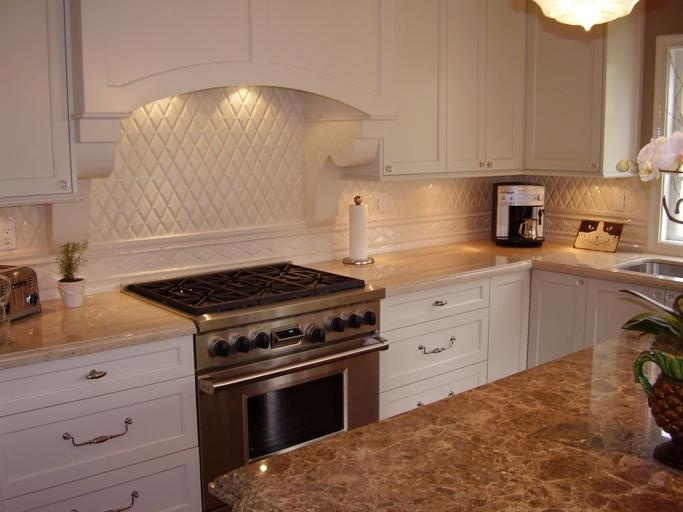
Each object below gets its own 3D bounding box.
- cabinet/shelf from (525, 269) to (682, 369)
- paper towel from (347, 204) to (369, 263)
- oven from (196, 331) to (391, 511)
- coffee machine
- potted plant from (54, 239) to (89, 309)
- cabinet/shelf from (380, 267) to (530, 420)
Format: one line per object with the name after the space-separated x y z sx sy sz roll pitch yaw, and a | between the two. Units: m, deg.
1.345 0.295 2.591 0.331 0.575 0.600 -2 7 -38 | cabinet/shelf
0.106 -0.146 3.325 0.125 0.341 0.127 -5 5 -7 | paper towel
-0.241 0.740 2.421 1.016 0.624 0.670 -8 5 -43 | oven
1.277 -0.347 3.964 0.420 0.592 0.471 0 7 7 | coffee machine
-1.343 0.075 2.521 0.152 0.312 0.291 -7 14 -28 | potted plant
0.593 0.467 2.832 0.739 0.703 0.372 -9 11 -38 | cabinet/shelf
